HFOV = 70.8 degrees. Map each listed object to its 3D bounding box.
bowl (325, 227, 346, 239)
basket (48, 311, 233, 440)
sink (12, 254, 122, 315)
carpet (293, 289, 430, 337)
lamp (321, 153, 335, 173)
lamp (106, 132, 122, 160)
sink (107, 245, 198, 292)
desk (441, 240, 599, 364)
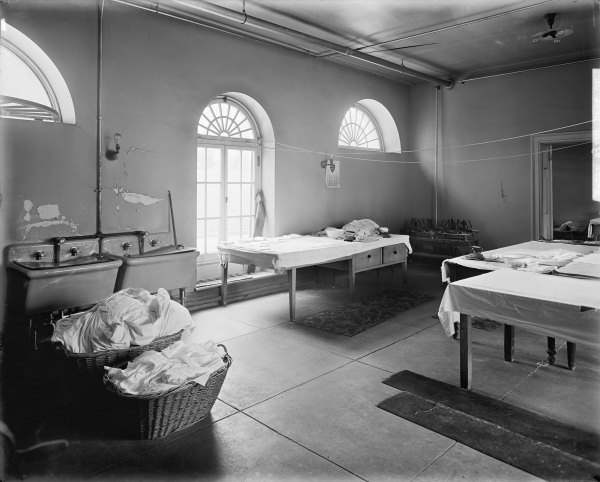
[{"bbox_3d":[0.537,-0.126,6.314,0.163,0.087,0.201,3,3,-38],"label":"bowl"},{"bbox_3d":[-1.114,0.917,2.943,0.707,0.357,0.902,1,-1,37],"label":"basket"},{"bbox_3d":[-2.207,0.409,3.975,0.998,0.417,0.478,-4,10,-23],"label":"sink"},{"bbox_3d":[0.847,0.879,5.425,0.882,0.026,1.976,8,12,42],"label":"carpet"},{"bbox_3d":[0.485,-1.303,7.171,0.262,0.263,0.078,16,11,5],"label":"lamp"},{"bbox_3d":[-2.067,-1.052,4.737,0.190,0.297,0.150,-7,11,-37],"label":"lamp"},{"bbox_3d":[-1.564,0.383,4.741,0.933,0.510,0.215,-8,12,-42],"label":"sink"},{"bbox_3d":[2.068,0.456,4.209,1.314,0.644,1.306,-7,9,-26],"label":"desk"}]
